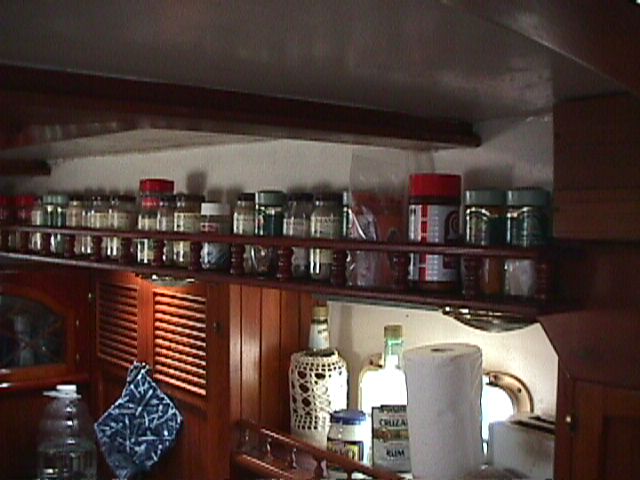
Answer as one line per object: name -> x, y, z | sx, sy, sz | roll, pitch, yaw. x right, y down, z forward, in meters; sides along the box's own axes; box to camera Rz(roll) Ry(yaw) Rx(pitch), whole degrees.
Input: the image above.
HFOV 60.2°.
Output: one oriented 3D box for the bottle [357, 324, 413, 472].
bottle -> 0.136, 0.336, 1.158 | 0.113, 0.257, 0.054 | -4, -12, 23
